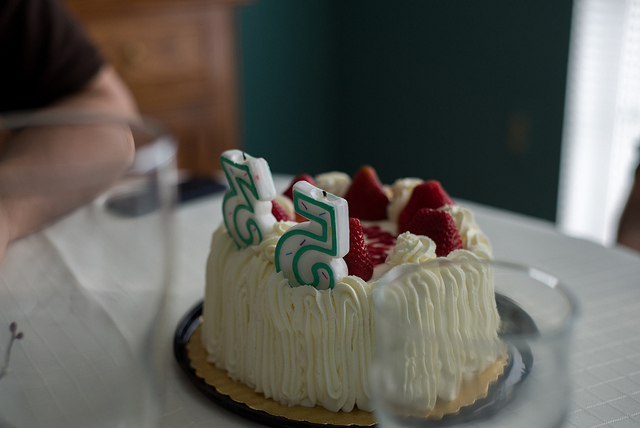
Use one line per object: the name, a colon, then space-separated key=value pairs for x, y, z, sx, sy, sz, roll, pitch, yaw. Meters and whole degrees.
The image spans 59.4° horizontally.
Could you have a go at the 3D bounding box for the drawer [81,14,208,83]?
drawer: x=-0.289 y=-0.244 z=0.990 sx=0.175 sy=0.182 sz=0.044 roll=-5 pitch=4 yaw=-22

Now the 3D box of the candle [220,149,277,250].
candle: x=-0.181 y=-0.030 z=1.378 sx=0.155 sy=0.228 sz=0.078 roll=17 pitch=35 yaw=38

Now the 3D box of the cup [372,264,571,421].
cup: x=0.214 y=0.191 z=0.870 sx=0.228 sy=0.162 sz=0.246 roll=-3 pitch=-3 yaw=0

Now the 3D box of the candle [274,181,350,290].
candle: x=-0.021 y=0.058 z=1.244 sx=0.187 sy=0.299 sz=0.055 roll=15 pitch=23 yaw=30

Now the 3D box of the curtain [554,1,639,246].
curtain: x=1.485 y=-0.481 z=2.983 sx=0.377 sy=1.198 sz=0.304 roll=7 pitch=30 yaw=24

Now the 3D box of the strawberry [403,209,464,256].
strawberry: x=0.297 y=0.058 z=1.416 sx=0.148 sy=0.133 sz=0.128 roll=-4 pitch=28 yaw=6

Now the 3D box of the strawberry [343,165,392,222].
strawberry: x=0.156 y=-0.062 z=1.781 sx=0.123 sy=0.181 sz=0.102 roll=0 pitch=3 yaw=-1
